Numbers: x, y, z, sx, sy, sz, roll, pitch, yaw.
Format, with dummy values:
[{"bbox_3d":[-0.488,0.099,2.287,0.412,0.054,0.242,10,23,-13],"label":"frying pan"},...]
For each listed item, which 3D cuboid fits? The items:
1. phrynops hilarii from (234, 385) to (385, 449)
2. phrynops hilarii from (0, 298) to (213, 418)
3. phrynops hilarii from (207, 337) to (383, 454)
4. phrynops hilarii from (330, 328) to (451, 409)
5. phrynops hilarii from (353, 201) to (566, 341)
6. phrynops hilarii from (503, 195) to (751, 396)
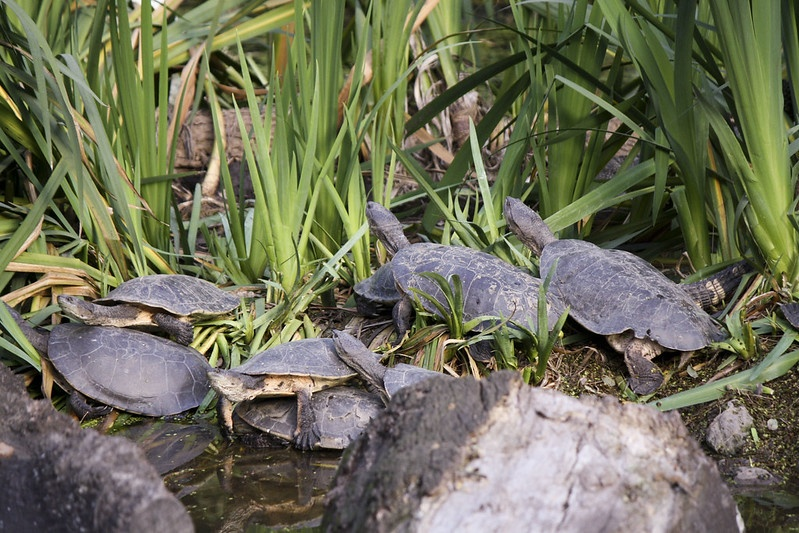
[{"bbox_3d":[-0.467,0.775,4.361,0.485,0.170,0.374,1,8,-1],"label":"phrynops hilarii"},{"bbox_3d":[-1.569,0.687,4.647,0.886,0.291,0.629,23,23,-18],"label":"phrynops hilarii"},{"bbox_3d":[-0.530,0.662,4.353,0.765,0.298,0.535,-31,12,-39],"label":"phrynops hilarii"},{"bbox_3d":[-0.083,0.441,4.309,0.466,0.137,0.330,27,8,4],"label":"phrynops hilarii"},{"bbox_3d":[0.287,0.061,4.570,0.966,0.331,0.677,28,42,22],"label":"phrynops hilarii"},{"bbox_3d":[1.147,0.146,4.449,0.979,0.283,0.711,33,46,32],"label":"phrynops hilarii"}]
